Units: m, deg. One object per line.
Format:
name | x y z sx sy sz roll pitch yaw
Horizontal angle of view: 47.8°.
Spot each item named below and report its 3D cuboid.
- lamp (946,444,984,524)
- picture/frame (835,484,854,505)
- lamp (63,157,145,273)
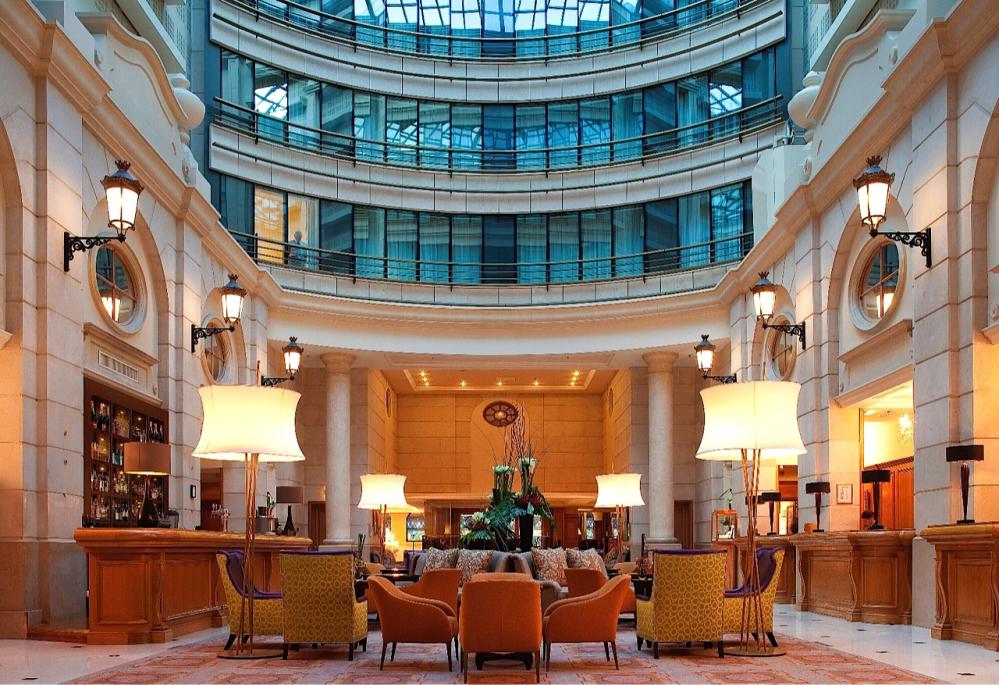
lamp | 5.671 1.676 13.621 0.433 1.025 0.646 -7 -16 22
picture/frame | 5.241 2.300 17.125 0.249 0.333 0.023 2 -6 -1
lamp | -5.030 -1.535 14.286 0.879 1.545 0.584 2 -11 -18
